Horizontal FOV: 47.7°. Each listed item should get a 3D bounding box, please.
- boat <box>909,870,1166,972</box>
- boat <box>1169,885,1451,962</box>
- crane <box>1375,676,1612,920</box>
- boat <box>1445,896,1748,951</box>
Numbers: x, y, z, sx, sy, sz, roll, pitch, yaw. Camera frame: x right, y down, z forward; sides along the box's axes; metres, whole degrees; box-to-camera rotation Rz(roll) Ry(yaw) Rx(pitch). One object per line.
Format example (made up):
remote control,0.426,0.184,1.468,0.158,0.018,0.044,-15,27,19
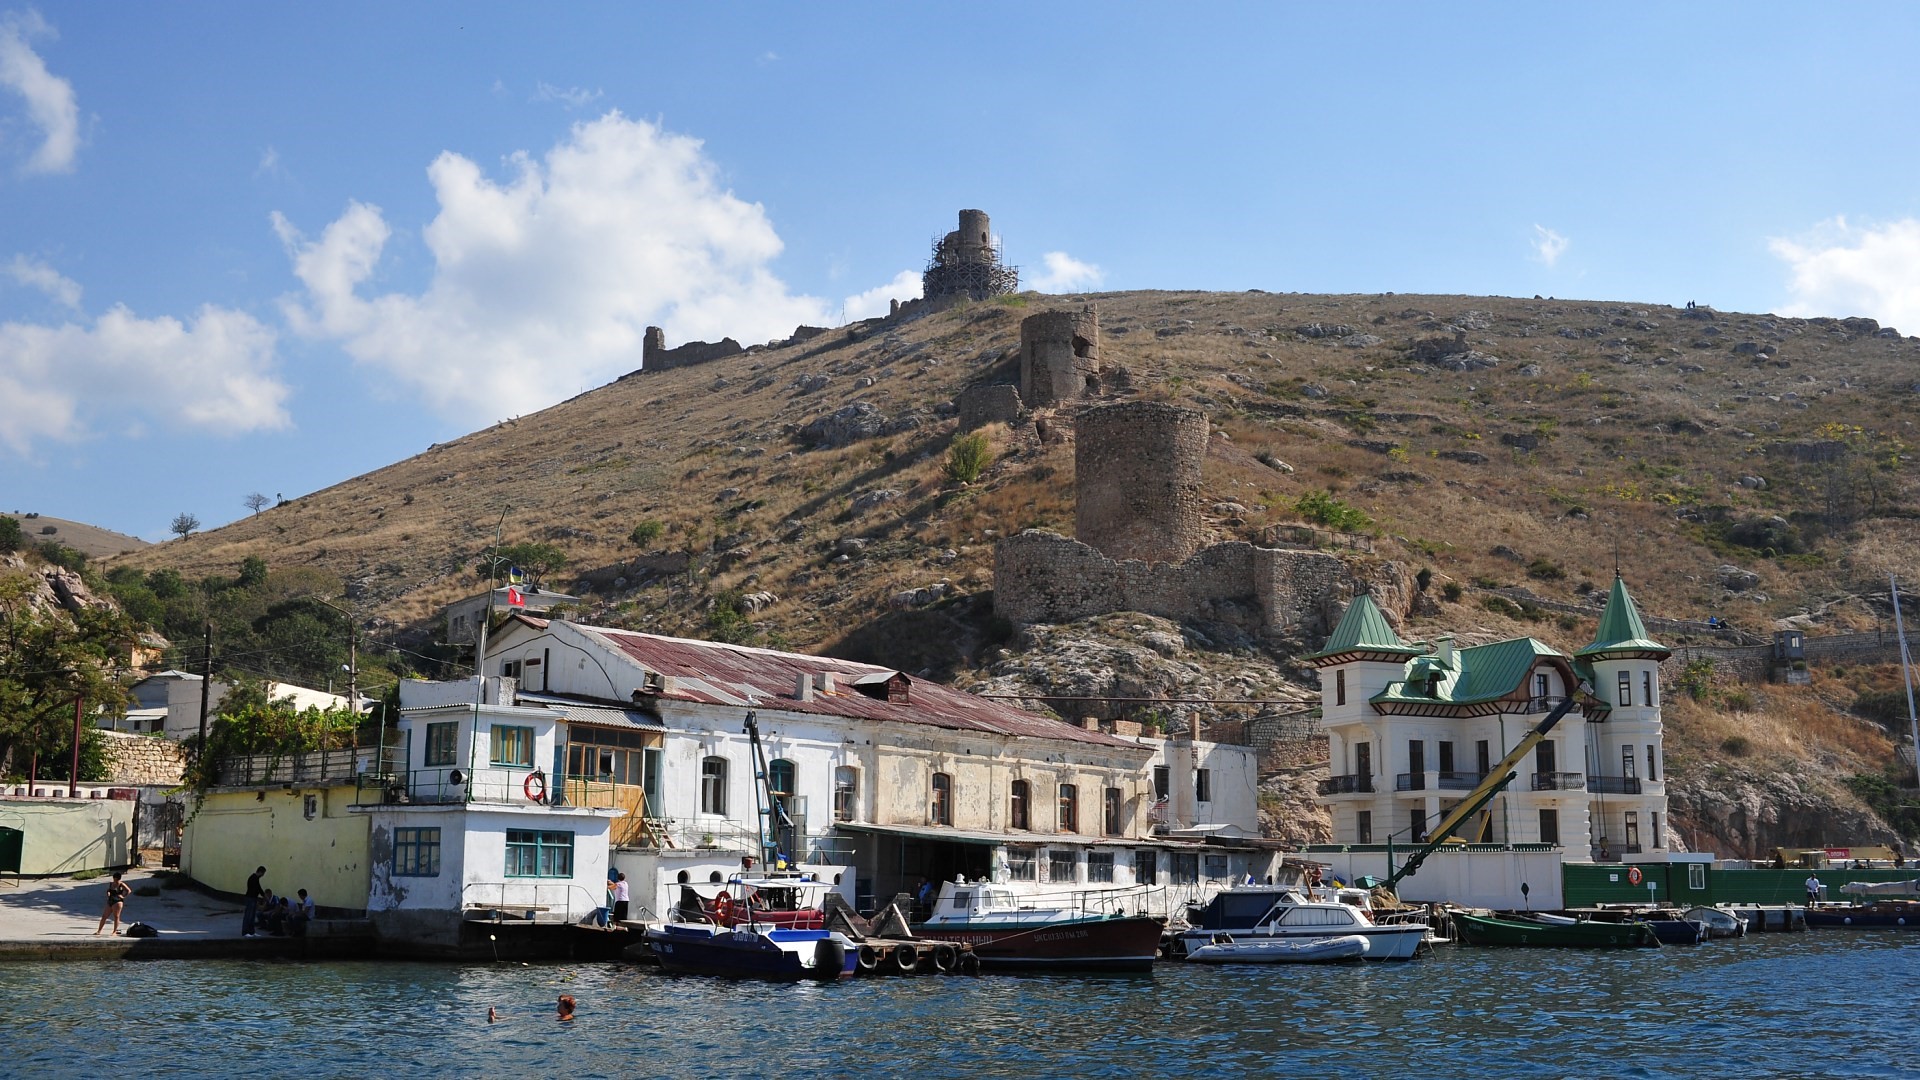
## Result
boat,2.523,20.029,113.038,15.378,4.913,4.806,-1,-5,13
boat,17.676,20.603,115.409,8.915,2.706,5.498,-1,-3,2
crane,31.444,14.681,130.627,13.014,12.440,3.942,3,-16,-12
boat,36.227,21.784,122.849,16.767,2.567,3.755,3,-16,-16
